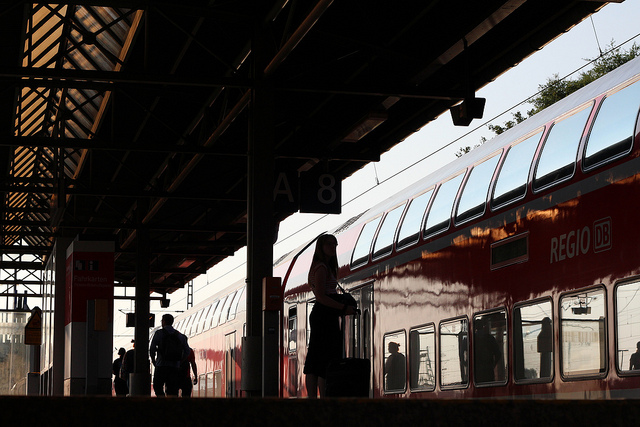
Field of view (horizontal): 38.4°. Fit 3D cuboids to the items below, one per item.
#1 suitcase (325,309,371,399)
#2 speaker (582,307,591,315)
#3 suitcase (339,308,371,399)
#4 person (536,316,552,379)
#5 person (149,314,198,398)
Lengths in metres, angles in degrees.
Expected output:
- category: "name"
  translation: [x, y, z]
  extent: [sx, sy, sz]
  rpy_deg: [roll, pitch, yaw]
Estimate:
- category: "suitcase"
  translation: [0.441, 2.199, 13.781]
  extent: [0.599, 1.634, 0.201]
  rpy_deg: [-7, -45, 13]
- category: "speaker"
  translation: [3.454, 1.250, 11.830]
  extent: [0.042, 0.081, 0.101]
  rpy_deg: [-1, 0, -32]
- category: "suitcase"
  translation: [0.430, 2.177, 13.708]
  extent: [0.318, 1.257, 0.372]
  rpy_deg: [-23, -23, 27]
- category: "person"
  translation: [3.033, 1.796, 12.376]
  extent: [0.144, 0.842, 0.317]
  rpy_deg: [-7, -1, -25]
- category: "person"
  translation: [-3.089, 3.293, 19.134]
  extent: [0.901, 2.324, 0.844]
  rpy_deg: [5, -24, -20]
